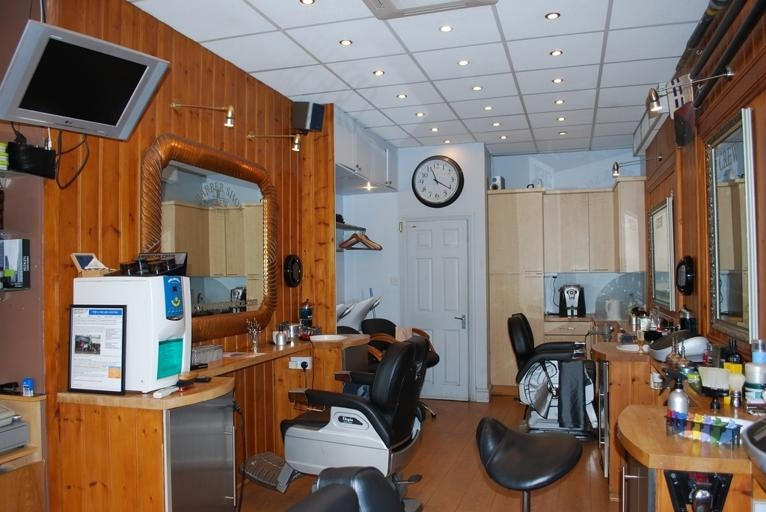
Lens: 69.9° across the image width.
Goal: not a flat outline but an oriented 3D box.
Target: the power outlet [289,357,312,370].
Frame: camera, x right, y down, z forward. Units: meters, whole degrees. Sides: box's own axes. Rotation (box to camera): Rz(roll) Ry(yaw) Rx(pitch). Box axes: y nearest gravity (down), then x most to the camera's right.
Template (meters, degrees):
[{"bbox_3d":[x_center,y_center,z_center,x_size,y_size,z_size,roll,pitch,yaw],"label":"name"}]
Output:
[{"bbox_3d":[-0.743,0.945,4.857,0.138,0.098,0.143,0,0,11],"label":"power outlet"}]

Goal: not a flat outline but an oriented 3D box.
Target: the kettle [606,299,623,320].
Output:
[{"bbox_3d":[3.098,0.708,7.354,0.220,0.392,0.238,-2,-2,21],"label":"kettle"}]

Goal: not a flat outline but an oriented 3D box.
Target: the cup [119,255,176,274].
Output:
[{"bbox_3d":[-1.531,0.053,3.545,0.325,0.148,0.178,-1,-5,8],"label":"cup"}]

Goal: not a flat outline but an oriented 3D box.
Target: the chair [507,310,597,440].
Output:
[{"bbox_3d":[1.738,1.273,6.071,1.018,1.317,1.050,-2,-5,12],"label":"chair"}]

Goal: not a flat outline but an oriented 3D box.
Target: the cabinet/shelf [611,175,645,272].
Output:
[{"bbox_3d":[3.078,-0.383,6.997,0.285,0.996,0.585,1,7,-23],"label":"cabinet/shelf"}]

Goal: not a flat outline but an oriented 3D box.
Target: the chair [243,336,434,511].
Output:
[{"bbox_3d":[-0.340,1.282,4.577,1.370,1.385,0.999,3,-8,18],"label":"chair"}]

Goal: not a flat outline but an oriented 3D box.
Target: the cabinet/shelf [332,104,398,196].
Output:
[{"bbox_3d":[-0.269,-1.197,6.561,0.555,0.665,1.781,-1,-5,12],"label":"cabinet/shelf"}]

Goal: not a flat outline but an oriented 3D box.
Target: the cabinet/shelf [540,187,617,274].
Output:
[{"bbox_3d":[2.595,-0.341,7.198,1.030,1.355,0.461,-1,0,9],"label":"cabinet/shelf"}]

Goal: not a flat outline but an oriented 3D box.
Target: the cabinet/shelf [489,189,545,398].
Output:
[{"bbox_3d":[1.873,0.573,7.447,0.885,3.042,0.373,6,17,37],"label":"cabinet/shelf"}]

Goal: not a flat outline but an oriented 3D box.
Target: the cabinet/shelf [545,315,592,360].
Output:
[{"bbox_3d":[2.360,0.990,6.939,0.604,0.628,0.405,0,-6,11],"label":"cabinet/shelf"}]

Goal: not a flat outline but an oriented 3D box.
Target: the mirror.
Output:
[{"bbox_3d":[-1.413,-0.140,4.312,0.129,1.887,1.831,0,1,21],"label":"mirror"}]

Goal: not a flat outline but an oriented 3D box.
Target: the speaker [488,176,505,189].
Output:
[{"bbox_3d":[1.547,-0.981,7.391,0.177,0.193,0.345,3,0,16],"label":"speaker"}]

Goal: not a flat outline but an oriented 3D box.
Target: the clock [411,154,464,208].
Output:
[{"bbox_3d":[0.734,-0.970,7.146,0.660,0.720,0.114,-1,-5,18],"label":"clock"}]

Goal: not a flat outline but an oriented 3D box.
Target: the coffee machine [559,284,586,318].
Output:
[{"bbox_3d":[2.559,0.553,7.400,0.316,0.471,0.423,-2,12,18],"label":"coffee machine"}]

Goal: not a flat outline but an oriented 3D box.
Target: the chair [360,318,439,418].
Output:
[{"bbox_3d":[0.192,1.264,6.459,0.986,1.146,0.926,-1,-5,-34],"label":"chair"}]

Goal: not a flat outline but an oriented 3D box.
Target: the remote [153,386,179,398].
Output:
[{"bbox_3d":[-1.358,0.847,3.430,0.084,0.051,0.189,-2,-5,15],"label":"remote"}]

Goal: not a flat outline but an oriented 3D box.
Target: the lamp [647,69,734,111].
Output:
[{"bbox_3d":[2.481,-1.315,4.411,0.674,0.318,0.147,-9,-1,40],"label":"lamp"}]

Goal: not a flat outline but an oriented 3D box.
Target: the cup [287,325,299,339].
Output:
[{"bbox_3d":[-0.837,0.707,5.184,0.110,0.127,0.113,0,0,0],"label":"cup"}]

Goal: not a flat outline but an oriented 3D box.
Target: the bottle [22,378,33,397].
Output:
[{"bbox_3d":[-2.257,0.821,3.458,0.100,0.112,0.043,-1,-4,14],"label":"bottle"}]

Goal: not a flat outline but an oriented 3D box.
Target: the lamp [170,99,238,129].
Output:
[{"bbox_3d":[-1.405,-1.135,4.345,0.487,0.201,0.221,0,5,10],"label":"lamp"}]
